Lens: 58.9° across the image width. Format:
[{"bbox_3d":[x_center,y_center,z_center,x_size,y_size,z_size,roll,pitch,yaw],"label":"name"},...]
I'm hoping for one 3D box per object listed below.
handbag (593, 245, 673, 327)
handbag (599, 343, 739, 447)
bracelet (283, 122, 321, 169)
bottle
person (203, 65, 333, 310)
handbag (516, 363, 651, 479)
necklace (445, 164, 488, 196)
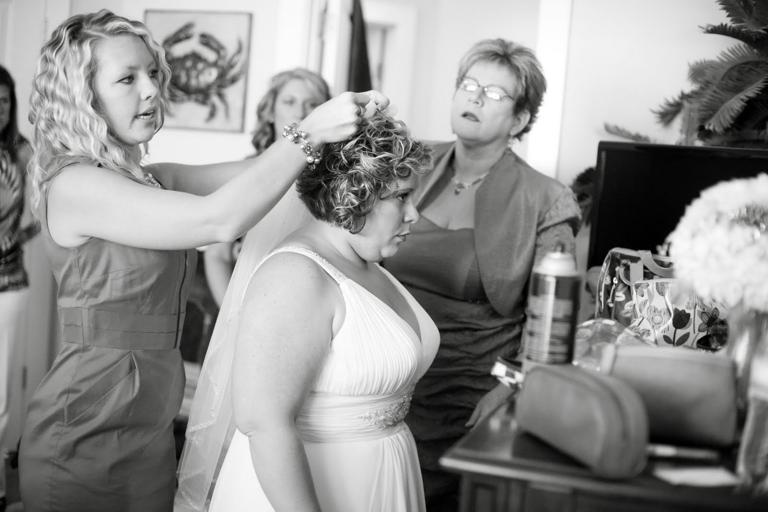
[{"bbox_3d":[0.870,0.112,2.362,0.233,0.238,0.132,9,-3,24],"label":"handbag"},{"bbox_3d":[0.630,0.299,1.506,0.336,0.249,0.192,0,-2,14],"label":"handbag"},{"bbox_3d":[-0.220,-0.307,1.936,0.038,0.118,0.091,-31,45,3],"label":"bracelet"},{"bbox_3d":[0.410,0.136,1.617,0.131,0.309,0.181,4,8,4],"label":"bottle"},{"bbox_3d":[-0.693,-0.279,3.645,0.642,1.382,0.556,-17,26,-40],"label":"person"},{"bbox_3d":[0.427,0.336,1.520,0.280,0.153,0.159,23,12,35],"label":"handbag"},{"bbox_3d":[0.336,-0.339,2.809,0.109,0.154,0.078,8,19,18],"label":"necklace"}]
